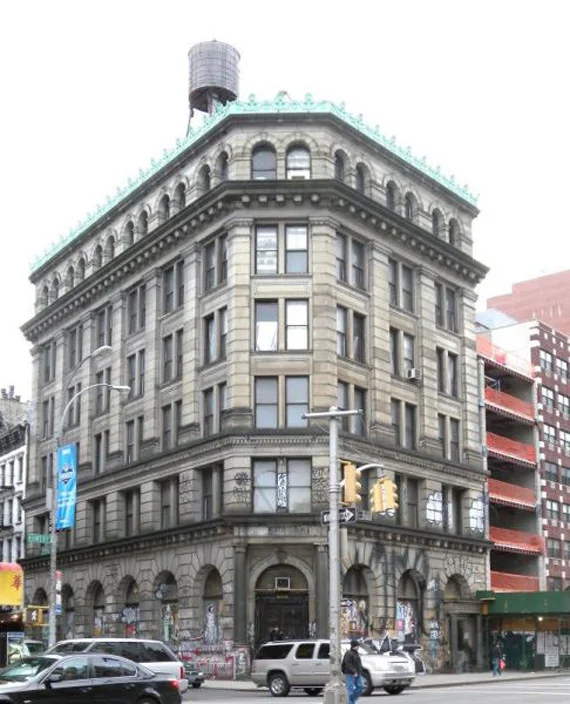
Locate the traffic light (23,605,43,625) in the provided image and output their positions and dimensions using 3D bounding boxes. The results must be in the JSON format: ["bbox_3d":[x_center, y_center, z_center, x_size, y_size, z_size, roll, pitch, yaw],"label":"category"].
[{"bbox_3d":[-7.594,8.001,37.739,0.356,0.831,1.064,-4,-3,-5],"label":"traffic light"}]

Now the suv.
[{"bbox_3d":[1.425,10.197,40.343,4.862,1.938,2.591,0,-22,-4],"label":"suv"}]

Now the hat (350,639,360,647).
[{"bbox_3d":[1.842,7.642,32.605,0.192,0.252,0.261,1,-28,-4],"label":"hat"}]

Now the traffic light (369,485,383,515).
[{"bbox_3d":[2.561,4.016,34.757,0.311,0.966,0.922,-2,-21,2],"label":"traffic light"}]

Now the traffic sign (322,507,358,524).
[{"bbox_3d":[1.484,4.468,34.006,1.017,0.479,0.629,-8,-22,14],"label":"traffic sign"}]
